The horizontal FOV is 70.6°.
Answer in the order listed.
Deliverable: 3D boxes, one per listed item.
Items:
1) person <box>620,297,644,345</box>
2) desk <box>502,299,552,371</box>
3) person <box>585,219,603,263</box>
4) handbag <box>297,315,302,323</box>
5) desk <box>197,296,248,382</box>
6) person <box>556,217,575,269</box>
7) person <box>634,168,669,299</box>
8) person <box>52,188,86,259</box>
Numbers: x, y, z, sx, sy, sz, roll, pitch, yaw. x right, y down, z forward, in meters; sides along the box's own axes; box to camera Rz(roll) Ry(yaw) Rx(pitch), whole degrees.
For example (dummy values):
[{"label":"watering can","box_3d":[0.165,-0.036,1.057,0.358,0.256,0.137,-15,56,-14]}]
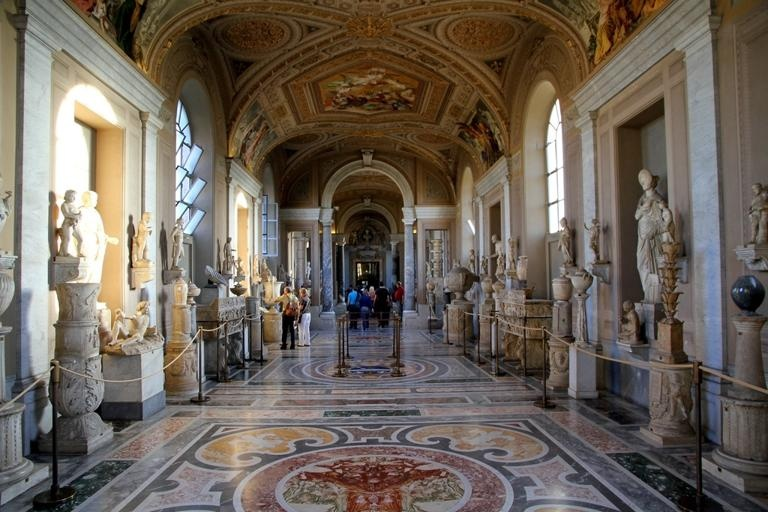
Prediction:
[{"label":"person","box_3d":[4.602,1.218,10.095,0.359,0.747,0.674,1,4,25]},{"label":"desk","box_3d":[3.526,1.913,13.547,0.754,1.645,1.937,2,-3,-3]},{"label":"person","box_3d":[4.315,-0.346,11.042,0.231,0.866,0.383,0,4,18]},{"label":"handbag","box_3d":[-2.777,2.034,17.514,0.174,0.311,0.226,-1,-5,5]},{"label":"desk","box_3d":[-4.174,1.976,13.925,0.660,1.778,2.766,-3,-3,-2]},{"label":"person","box_3d":[4.109,-0.318,12.147,0.341,1.119,0.682,0,4,19]},{"label":"person","box_3d":[4.636,-0.351,9.402,0.445,2.335,0.912,1,4,22]},{"label":"person","box_3d":[-5.068,-0.526,8.628,0.378,1.057,0.324,-2,4,-19]}]
